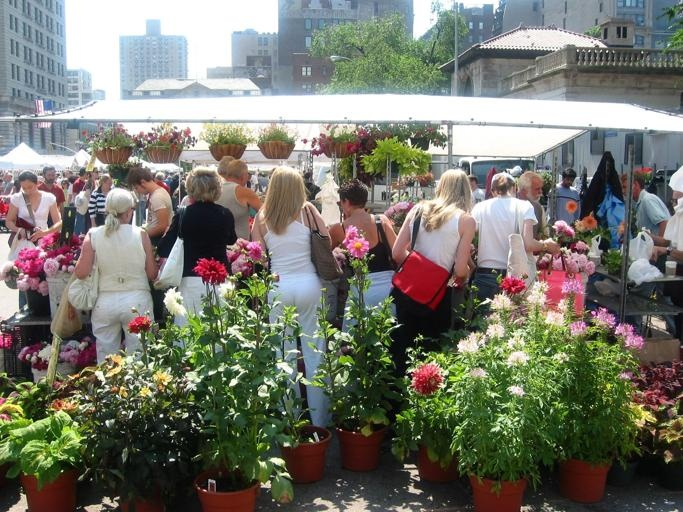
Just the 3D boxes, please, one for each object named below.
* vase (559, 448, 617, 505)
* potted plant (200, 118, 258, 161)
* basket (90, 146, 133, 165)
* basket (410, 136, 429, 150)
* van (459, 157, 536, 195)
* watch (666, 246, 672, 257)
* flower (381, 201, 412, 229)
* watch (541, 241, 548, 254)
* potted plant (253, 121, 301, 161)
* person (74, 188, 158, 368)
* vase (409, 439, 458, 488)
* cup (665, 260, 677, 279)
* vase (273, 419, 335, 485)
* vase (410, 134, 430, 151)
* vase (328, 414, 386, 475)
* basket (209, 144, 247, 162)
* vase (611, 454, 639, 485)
[{"bbox_3d":[1.727,1.561,4.867,0.293,0.260,0.315,0,-3,-5],"label":"vase"},{"bbox_3d":[-1.341,-1.349,7.914,0.450,0.376,0.469,0,1,-1],"label":"potted plant"},{"bbox_3d":[-2.710,-1.192,8.087,0.254,0.110,0.272,-1,2,23],"label":"basket"},{"bbox_3d":[0.953,-1.362,8.260,0.155,0.117,0.150,2,7,23],"label":"basket"},{"bbox_3d":[4.106,-2.323,17.724,1.917,1.206,1.466,-1,5,-8],"label":"van"},{"bbox_3d":[3.650,-0.061,7.638,0.058,0.115,0.103,4,7,16],"label":"watch"},{"bbox_3d":[0.595,-0.490,7.588,0.270,0.303,0.271,-10,14,-28],"label":"flower"},{"bbox_3d":[1.812,-0.089,6.134,0.055,0.065,0.060,-4,8,2],"label":"watch"},{"bbox_3d":[-0.786,-1.375,8.150,0.356,0.393,0.410,-1,3,-2],"label":"potted plant"},{"bbox_3d":[-1.986,0.324,6.154,0.620,2.040,0.575,-2,28,-19],"label":"person"},{"bbox_3d":[0.739,1.540,5.239,0.365,0.288,0.365,-5,4,-36],"label":"vase"},{"bbox_3d":[3.423,0.133,7.052,0.142,0.180,0.153,2,6,0],"label":"cup"},{"bbox_3d":[-0.256,1.487,5.223,0.356,0.307,0.384,0,-1,-1],"label":"vase"},{"bbox_3d":[0.938,-1.376,8.263,0.153,0.134,0.168,-2,3,-22],"label":"vase"},{"bbox_3d":[0.145,1.449,5.256,0.315,0.266,0.338,1,-2,-7],"label":"vase"},{"bbox_3d":[-1.349,-1.224,7.939,0.263,0.123,0.280,2,4,28],"label":"basket"},{"bbox_3d":[2.068,1.570,5.006,0.183,0.153,0.198,-1,-3,3],"label":"vase"}]
